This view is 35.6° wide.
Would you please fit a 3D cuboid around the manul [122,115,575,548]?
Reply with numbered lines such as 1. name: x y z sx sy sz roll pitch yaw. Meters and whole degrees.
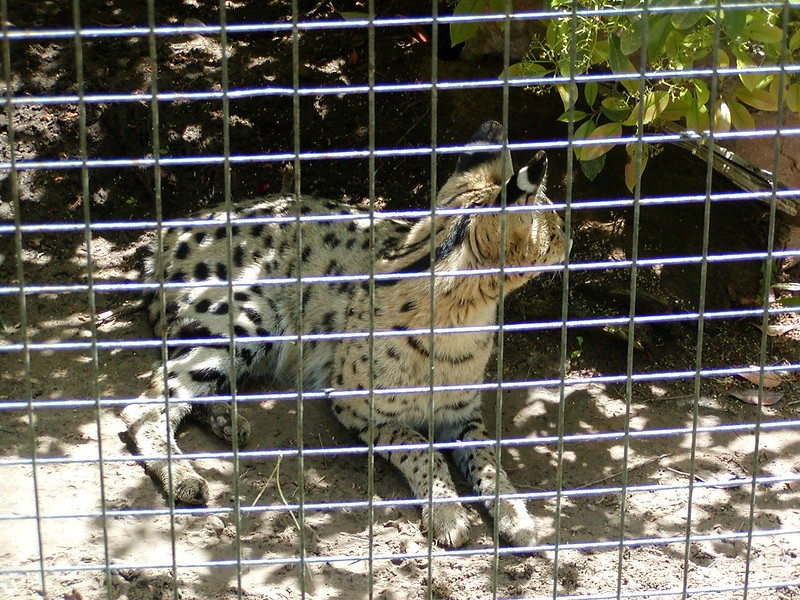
1. manul: -0.245 0.107 6.864 2.631 1.095 2.297 11 111 26
